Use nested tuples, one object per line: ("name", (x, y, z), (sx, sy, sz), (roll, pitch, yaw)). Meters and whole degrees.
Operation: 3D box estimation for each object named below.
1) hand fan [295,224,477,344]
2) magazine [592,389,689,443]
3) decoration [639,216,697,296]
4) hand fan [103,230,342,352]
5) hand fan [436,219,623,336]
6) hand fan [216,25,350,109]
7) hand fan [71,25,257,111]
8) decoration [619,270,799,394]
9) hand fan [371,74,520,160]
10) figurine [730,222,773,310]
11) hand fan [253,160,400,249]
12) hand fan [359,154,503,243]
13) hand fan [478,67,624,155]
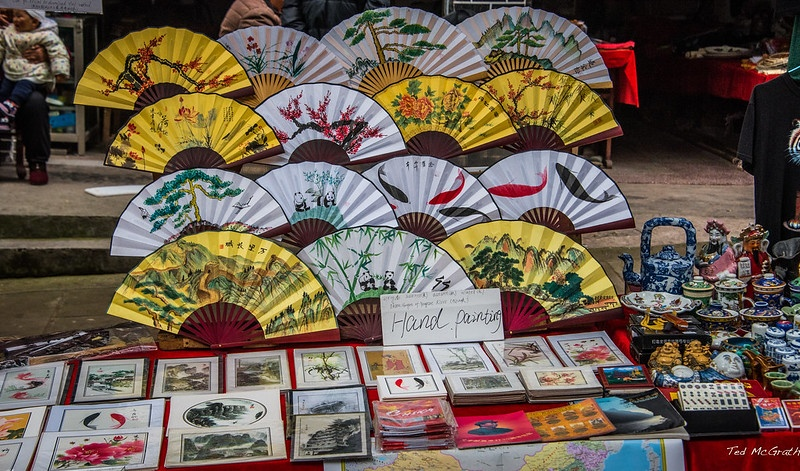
("hand fan", (-0.154, 0.260, 3.725), (0.047, 0.690, 1.200), (0, -8, 39))
("magazine", (1.228, 0.907, 3.176), (0.266, 0.044, 0.263), (-2, 23, 6))
("decoration", (1.748, 0.143, 4.046), (0.357, 0.520, 0.340), (7, 21, 43))
("hand fan", (-1.090, 0.324, 3.666), (1.731, 0.708, 0.034), (-3, -2, 28))
("hand fan", (0.688, 0.244, 3.867), (0.064, 0.705, 1.610), (-6, 2, -44))
("hand fan", (-0.816, -1.123, 4.250), (0.770, 0.431, 0.065), (7, 12, -6))
("hand fan", (-1.601, -1.103, 4.155), (1.352, 0.533, 0.020), (1, 9, 15))
("decoration", (1.676, 0.472, 3.342), (0.612, 0.134, 0.597), (1, 33, 2))
("hand fan", (0.229, -0.796, 4.236), (1.306, 0.570, 0.029), (10, 22, 41))
("figurine", (2.302, 0.205, 4.053), (0.263, 0.501, 0.174), (-2, -4, 1))
("hand fan", (-0.547, -0.184, 3.877), (1.050, 0.549, 0.022), (5, -10, 24))
("hand fan", (0.183, -0.208, 3.891), (0.599, 0.330, 0.026), (14, 8, -4))
("hand fan", (0.975, -0.881, 4.390), (0.047, 0.679, 1.138), (-30, 32, -27))
